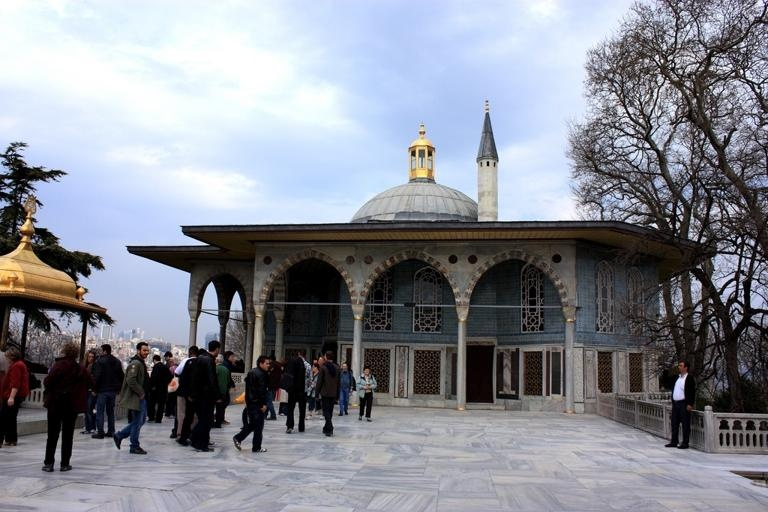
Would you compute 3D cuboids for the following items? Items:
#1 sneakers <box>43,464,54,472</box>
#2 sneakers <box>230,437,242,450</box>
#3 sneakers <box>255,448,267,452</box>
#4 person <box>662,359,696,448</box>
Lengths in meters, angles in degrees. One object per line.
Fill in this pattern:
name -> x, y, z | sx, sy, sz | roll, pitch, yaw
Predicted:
sneakers -> -5.889, 3.722, 11.965 | 0.166, 0.100, 0.103 | 0, -9, 36
sneakers -> -3.007, 3.797, 13.891 | 0.182, 0.168, 0.417 | 16, 8, -25
sneakers -> -2.502, 3.947, 13.805 | 0.233, 0.088, 0.082 | 0, -3, -5
person -> 6.814, 3.426, 15.753 | 0.667, 1.949, 0.930 | -4, -12, 22
